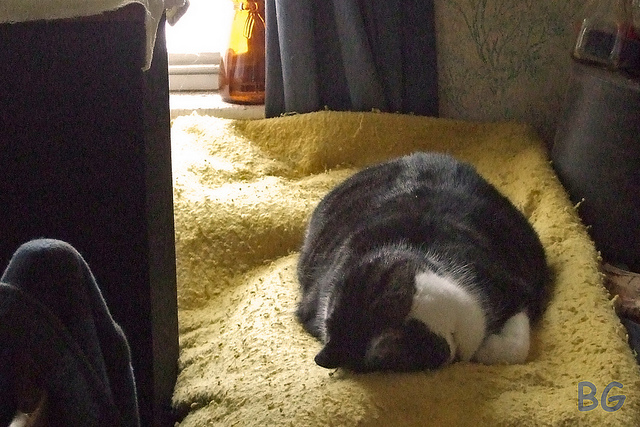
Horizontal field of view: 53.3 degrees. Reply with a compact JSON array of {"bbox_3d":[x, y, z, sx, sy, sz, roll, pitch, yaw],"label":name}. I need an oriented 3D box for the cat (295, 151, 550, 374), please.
[{"bbox_3d":[0.225,0.076,1.367,0.560,0.281,0.519,-2,20,-11],"label":"cat"}]
